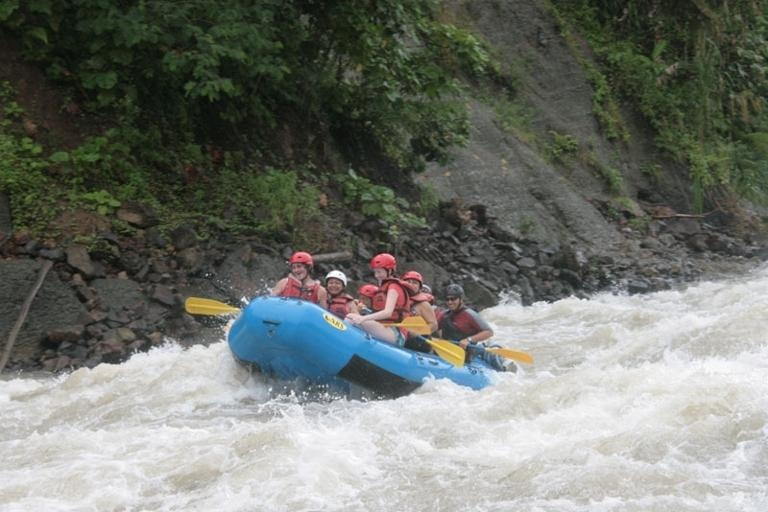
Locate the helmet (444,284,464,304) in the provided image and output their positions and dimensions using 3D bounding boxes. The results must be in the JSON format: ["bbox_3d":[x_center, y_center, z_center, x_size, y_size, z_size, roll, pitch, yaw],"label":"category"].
[{"bbox_3d":[1.471,0.797,20.241,0.339,0.360,0.406,1,-23,8],"label":"helmet"}]

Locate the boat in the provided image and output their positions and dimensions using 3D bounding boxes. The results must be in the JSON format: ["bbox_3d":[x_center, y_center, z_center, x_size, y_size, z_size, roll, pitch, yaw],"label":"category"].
[{"bbox_3d":[-0.910,1.938,18.725,3.490,0.851,2.091,23,-13,-24],"label":"boat"}]

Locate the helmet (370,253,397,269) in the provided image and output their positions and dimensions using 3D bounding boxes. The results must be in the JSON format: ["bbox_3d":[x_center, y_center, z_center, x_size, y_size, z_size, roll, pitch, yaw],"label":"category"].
[{"bbox_3d":[0.002,0.124,19.738,0.443,0.245,0.314,-9,17,-34],"label":"helmet"}]

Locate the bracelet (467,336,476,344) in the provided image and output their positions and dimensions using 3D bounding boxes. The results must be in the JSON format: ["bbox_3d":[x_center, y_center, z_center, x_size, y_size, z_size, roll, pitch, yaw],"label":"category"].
[{"bbox_3d":[1.815,1.748,19.982,0.123,0.181,0.170,-28,-39,-21],"label":"bracelet"}]

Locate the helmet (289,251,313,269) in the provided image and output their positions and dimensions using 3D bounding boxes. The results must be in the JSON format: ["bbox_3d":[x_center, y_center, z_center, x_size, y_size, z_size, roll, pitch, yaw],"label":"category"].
[{"bbox_3d":[-1.712,0.096,19.555,0.430,0.355,0.404,-24,3,-8],"label":"helmet"}]

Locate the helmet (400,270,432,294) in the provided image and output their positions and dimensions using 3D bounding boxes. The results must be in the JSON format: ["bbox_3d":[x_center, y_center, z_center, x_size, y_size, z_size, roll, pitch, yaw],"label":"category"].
[{"bbox_3d":[0.707,0.583,19.988,0.433,0.569,0.506,-20,25,-15],"label":"helmet"}]
